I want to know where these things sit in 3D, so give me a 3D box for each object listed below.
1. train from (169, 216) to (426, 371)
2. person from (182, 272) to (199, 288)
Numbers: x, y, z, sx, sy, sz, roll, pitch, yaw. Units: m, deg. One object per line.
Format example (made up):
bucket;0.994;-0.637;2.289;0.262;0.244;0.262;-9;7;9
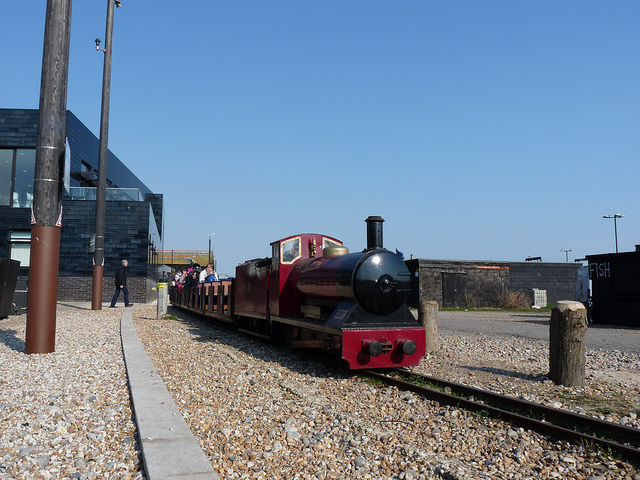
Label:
train;-1.723;1.240;14.183;2.088;2.883;12.567;5;-6;-29
person;-5.763;1.801;21.849;0.560;0.810;1.885;5;-5;-24
